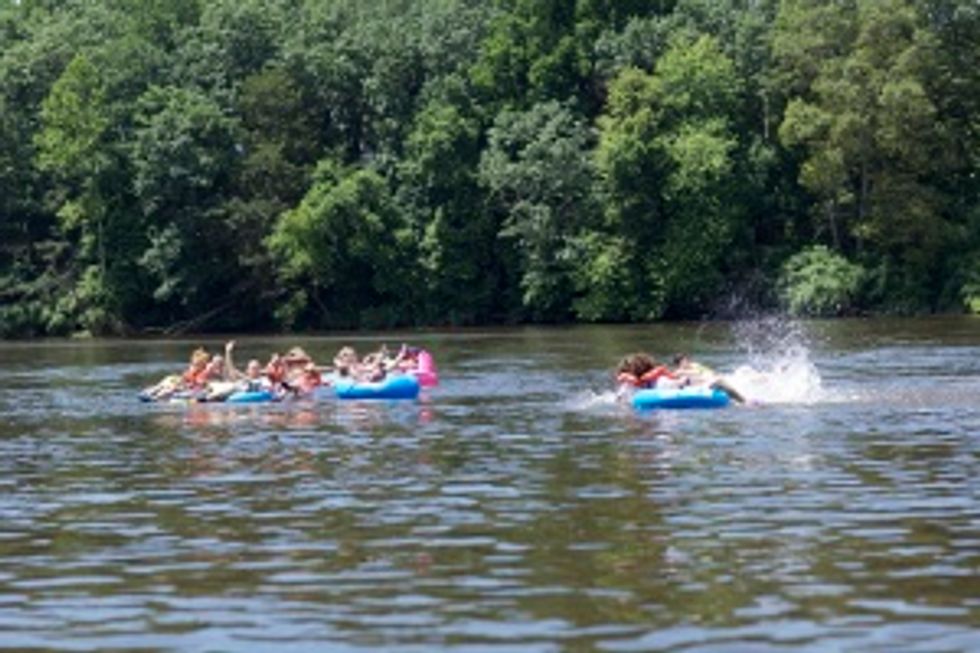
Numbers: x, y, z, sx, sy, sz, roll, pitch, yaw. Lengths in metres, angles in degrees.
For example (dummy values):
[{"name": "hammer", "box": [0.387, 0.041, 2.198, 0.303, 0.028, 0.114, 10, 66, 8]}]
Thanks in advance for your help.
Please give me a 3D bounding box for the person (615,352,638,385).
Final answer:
[{"name": "person", "box": [4.080, 1.268, 43.587, 0.533, 0.823, 0.389, 12, -4, 39]}]
